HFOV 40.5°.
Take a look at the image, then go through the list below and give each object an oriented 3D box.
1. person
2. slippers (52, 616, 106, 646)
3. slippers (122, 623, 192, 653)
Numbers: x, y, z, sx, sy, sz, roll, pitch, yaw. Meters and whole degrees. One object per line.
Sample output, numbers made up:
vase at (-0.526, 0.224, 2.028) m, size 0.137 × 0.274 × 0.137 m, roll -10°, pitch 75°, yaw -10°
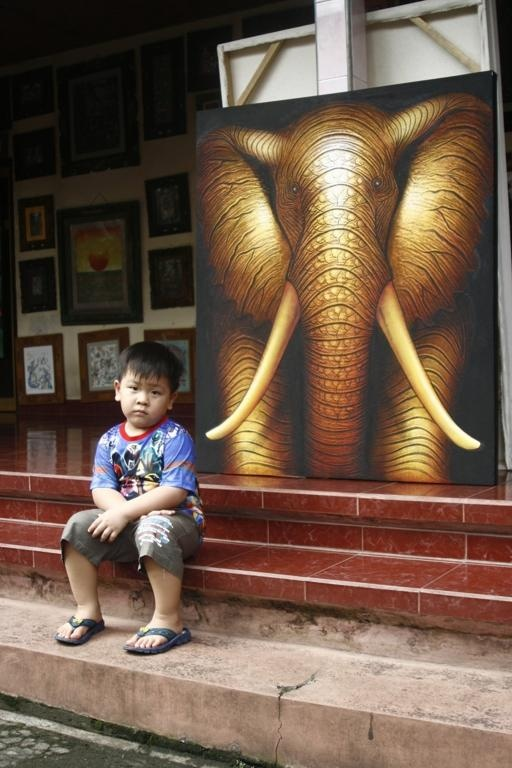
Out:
person at (-0.382, 0.306, 2.045) m, size 0.444 × 0.925 × 0.446 m, roll -3°, pitch 0°, yaw -6°
slippers at (-0.520, 0.711, 2.007) m, size 0.056 × 0.042 × 0.139 m, roll 1°, pitch -3°, yaw 23°
slippers at (-0.262, 0.697, 1.910) m, size 0.062 × 0.052 × 0.172 m, roll -9°, pitch -14°, yaw 38°
